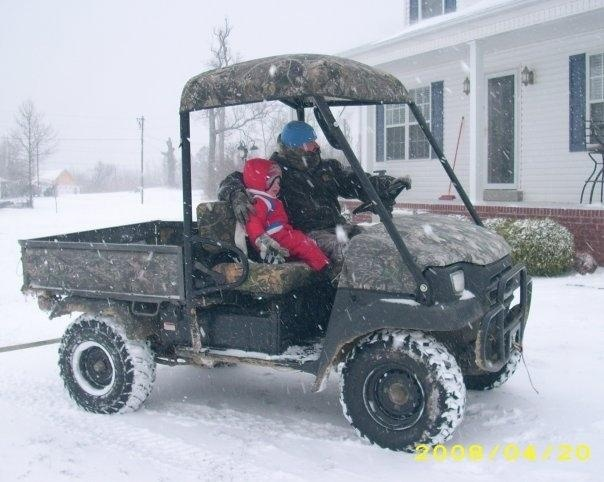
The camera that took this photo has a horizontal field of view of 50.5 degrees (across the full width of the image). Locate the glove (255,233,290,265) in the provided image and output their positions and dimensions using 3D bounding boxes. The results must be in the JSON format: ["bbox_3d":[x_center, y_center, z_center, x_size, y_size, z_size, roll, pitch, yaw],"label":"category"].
[{"bbox_3d":[-0.228,0.051,5.015,0.232,0.081,0.217,40,27,-13],"label":"glove"}]

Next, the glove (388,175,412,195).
[{"bbox_3d":[0.851,-0.434,5.497,0.157,0.122,0.186,-10,27,-3],"label":"glove"}]

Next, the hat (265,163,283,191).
[{"bbox_3d":[-0.195,-0.545,5.419,0.168,0.192,0.135,-16,-6,26],"label":"hat"}]

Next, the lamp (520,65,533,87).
[{"bbox_3d":[4.445,-3.231,12.576,0.243,0.472,0.311,-1,4,14],"label":"lamp"}]

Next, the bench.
[{"bbox_3d":[-0.360,0.041,5.338,0.813,0.929,0.600,0,2,17],"label":"bench"}]

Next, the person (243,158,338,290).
[{"bbox_3d":[-0.032,-0.155,5.588,0.740,1.485,0.997,-8,3,10],"label":"person"}]

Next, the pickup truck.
[{"bbox_3d":[-0.070,0.187,5.925,3.988,3.609,2.428,1,5,28],"label":"pickup truck"}]
